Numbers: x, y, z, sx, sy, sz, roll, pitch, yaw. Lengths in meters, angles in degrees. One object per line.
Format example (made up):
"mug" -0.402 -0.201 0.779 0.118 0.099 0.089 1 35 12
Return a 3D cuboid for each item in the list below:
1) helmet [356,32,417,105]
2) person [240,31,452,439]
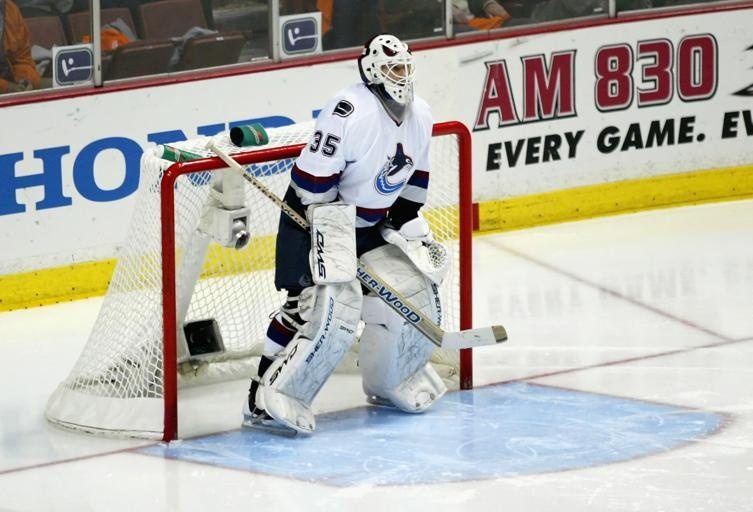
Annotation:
"helmet" 0.038 -0.922 5.244 0.246 0.291 0.296 -12 24 -36
"person" -0.146 -0.097 5.421 1.179 1.904 0.673 -8 16 -44
